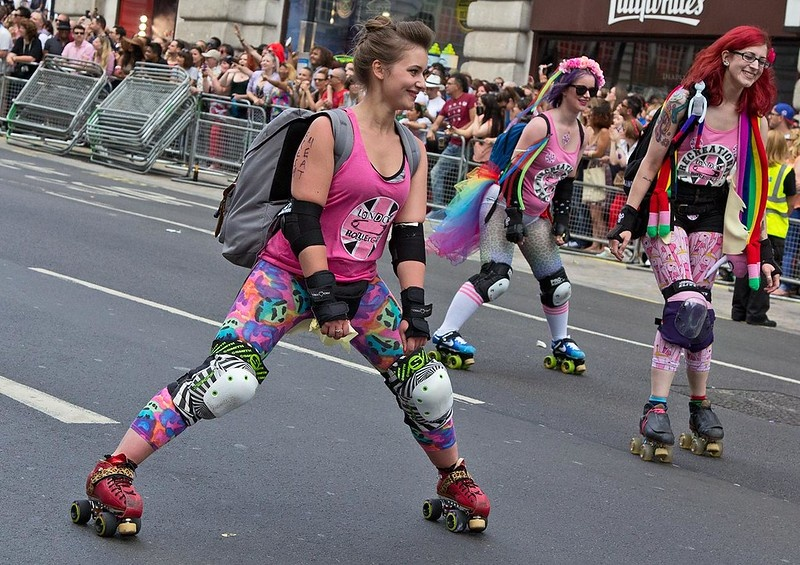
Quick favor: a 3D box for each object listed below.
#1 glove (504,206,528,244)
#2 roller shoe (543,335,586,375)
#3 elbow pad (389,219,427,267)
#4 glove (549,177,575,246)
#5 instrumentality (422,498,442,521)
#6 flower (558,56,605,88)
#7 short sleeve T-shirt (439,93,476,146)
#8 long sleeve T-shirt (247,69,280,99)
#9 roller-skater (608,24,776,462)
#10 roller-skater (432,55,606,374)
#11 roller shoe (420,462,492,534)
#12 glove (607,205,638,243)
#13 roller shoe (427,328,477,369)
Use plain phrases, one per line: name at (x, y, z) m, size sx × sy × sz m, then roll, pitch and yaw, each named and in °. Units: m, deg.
glove at (0.958, -0.486, 6.116) m, size 0.114 × 0.278 × 0.213 m, roll -2°, pitch -11°, yaw -13°
roller shoe at (1.477, 0.662, 6.508) m, size 0.226 × 0.285 × 0.410 m, roll -1°, pitch 3°, yaw -41°
elbow pad at (0.039, -0.213, 3.152) m, size 0.167 × 0.250 × 0.142 m, roll -6°, pitch 45°, yaw -9°
glove at (1.432, -0.638, 6.366) m, size 0.158 × 0.630 × 0.176 m, roll 6°, pitch 5°, yaw -2°
instrumentality at (0.147, 1.038, 3.300) m, size 0.040 × 0.079 × 0.079 m, roll -3°, pitch 48°, yaw -17°
flower at (1.518, -1.876, 6.144) m, size 0.323 × 0.187 × 0.319 m, roll 29°, pitch 2°, yaw -44°
short sleeve T-shirt at (1.134, -3.180, 14.213) m, size 0.784 × 1.018 × 0.346 m, roll 4°, pitch 26°, yaw 23°
long sleeve T-shirt at (-2.985, -4.391, 16.095) m, size 0.580 × 0.625 × 0.336 m, roll 9°, pitch -5°, yaw 8°
roller-skater at (1.920, -0.277, 4.855) m, size 0.931 × 2.829 × 1.171 m, roll 5°, pitch 2°, yaw 33°
roller-skater at (0.987, -0.770, 6.603) m, size 1.363 × 3.026 × 1.766 m, roll -4°, pitch 28°, yaw -17°
roller shoe at (0.254, 0.960, 3.326) m, size 0.210 × 0.298 × 0.342 m, roll 2°, pitch 3°, yaw -40°
glove at (1.457, -0.364, 4.779) m, size 0.178 × 0.301 × 0.110 m, roll 18°, pitch -5°, yaw 6°
roller shoe at (0.396, 0.570, 6.214) m, size 0.203 × 0.273 × 0.475 m, roll -5°, pitch 8°, yaw -43°
